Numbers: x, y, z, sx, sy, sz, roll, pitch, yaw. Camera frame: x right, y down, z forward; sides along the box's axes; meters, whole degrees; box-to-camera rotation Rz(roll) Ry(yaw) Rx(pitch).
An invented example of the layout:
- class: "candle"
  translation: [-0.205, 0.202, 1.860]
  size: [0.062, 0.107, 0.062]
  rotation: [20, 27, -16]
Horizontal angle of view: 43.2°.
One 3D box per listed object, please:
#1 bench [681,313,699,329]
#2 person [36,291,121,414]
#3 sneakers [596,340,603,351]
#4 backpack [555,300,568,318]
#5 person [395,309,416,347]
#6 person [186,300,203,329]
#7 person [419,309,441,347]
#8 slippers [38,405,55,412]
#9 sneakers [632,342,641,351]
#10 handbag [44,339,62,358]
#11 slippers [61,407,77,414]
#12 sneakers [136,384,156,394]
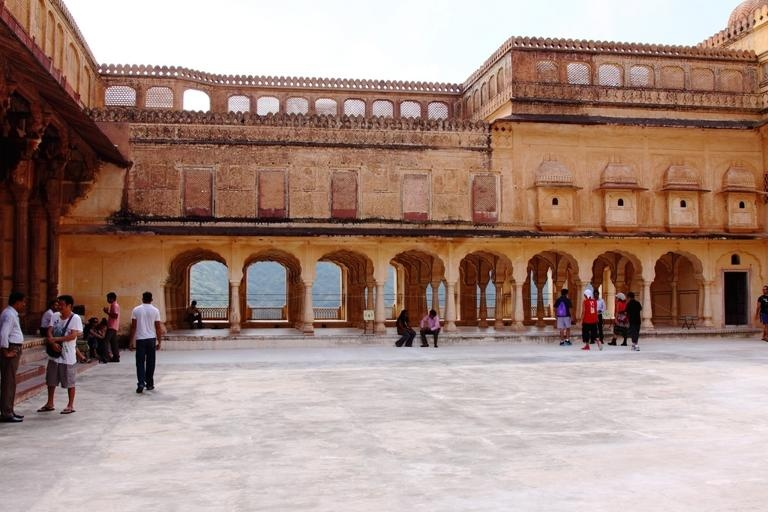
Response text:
- class: "bench"
  translation: [11.157, 2.397, 35.418]
  size: [0.589, 0.471, 0.755]
  rotation: [1, -6, 4]
- class: "person"
  translation: [-6.760, 2.043, 20.379]
  size: [0.749, 2.443, 1.067]
  rotation: [2, -7, -19]
- class: "sneakers"
  translation: [6.420, 2.675, 28.715]
  size: [0.151, 0.356, 0.160]
  rotation: [-17, 19, -4]
- class: "backpack"
  translation: [5.552, 1.650, 30.272]
  size: [0.423, 0.535, 0.153]
  rotation: [-1, 12, 5]
- class: "person"
  translation: [0.698, 2.318, 31.003]
  size: [0.649, 1.157, 1.148]
  rotation: [0, -7, 2]
- class: "person"
  translation: [-7.043, 2.182, 36.218]
  size: [0.612, 1.101, 1.866]
  rotation: [1, -6, -11]
- class: "person"
  translation: [1.470, 2.294, 30.857]
  size: [0.628, 1.224, 1.289]
  rotation: [0, -6, 2]
- class: "slippers"
  translation: [-6.972, 3.154, 20.096]
  size: [0.283, 0.095, 0.147]
  rotation: [1, -6, 1]
- class: "sneakers"
  translation: [7.472, 2.715, 28.750]
  size: [0.157, 0.166, 0.466]
  rotation: [1, -3, 5]
- class: "handbag"
  translation: [-6.832, 1.932, 20.070]
  size: [0.366, 0.325, 0.337]
  rotation: [-3, -1, 7]
- class: "slippers"
  translation: [-6.436, 3.165, 19.867]
  size: [0.278, 0.131, 0.179]
  rotation: [2, -7, -16]
- class: "sneakers"
  translation: [-5.264, 2.966, 21.671]
  size: [0.242, 0.171, 0.544]
  rotation: [-4, -7, 33]
